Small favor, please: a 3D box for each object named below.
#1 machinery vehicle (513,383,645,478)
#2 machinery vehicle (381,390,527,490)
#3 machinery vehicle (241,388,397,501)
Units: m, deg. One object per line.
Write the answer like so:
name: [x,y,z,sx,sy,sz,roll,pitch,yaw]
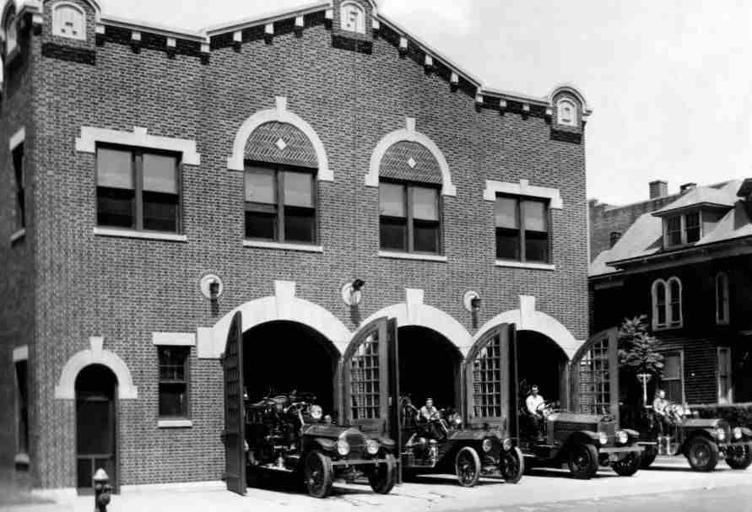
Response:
machinery vehicle: [5.749,5.831,42.502,2.497,2.568,5.219,4,-7,-40]
machinery vehicle: [2.452,5.632,40.044,3.860,2.519,1.595,-5,-6,41]
machinery vehicle: [-2.147,5.687,40.180,2.759,2.659,6.744,2,-3,-30]
